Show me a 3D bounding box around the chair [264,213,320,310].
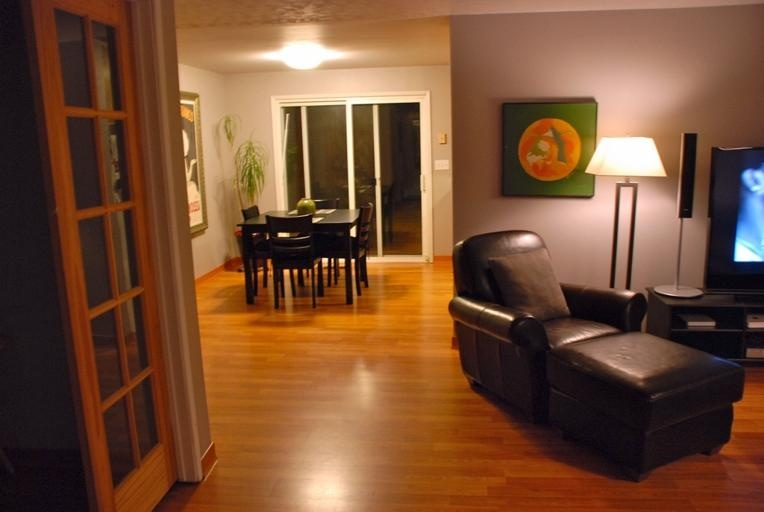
[{"bbox_3d":[-0.990,0.014,6.566,0.547,1.003,1.158,-4,11,-10],"label":"chair"}]

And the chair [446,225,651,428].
[{"bbox_3d":[1.188,0.452,4.352,1.347,1.055,1.271,-6,11,-2],"label":"chair"}]

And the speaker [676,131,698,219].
[{"bbox_3d":[2.404,-0.629,4.641,0.107,0.658,0.183,3,13,23],"label":"speaker"}]

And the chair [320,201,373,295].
[{"bbox_3d":[-0.483,-0.089,7.044,0.741,0.927,0.678,0,9,2],"label":"chair"}]

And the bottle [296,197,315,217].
[{"bbox_3d":[-0.905,-0.556,6.891,0.274,0.207,0.256,0,2,0],"label":"bottle"}]

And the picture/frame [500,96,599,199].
[{"bbox_3d":[1.424,-0.944,4.926,0.962,0.883,0.098,0,9,6],"label":"picture/frame"}]
